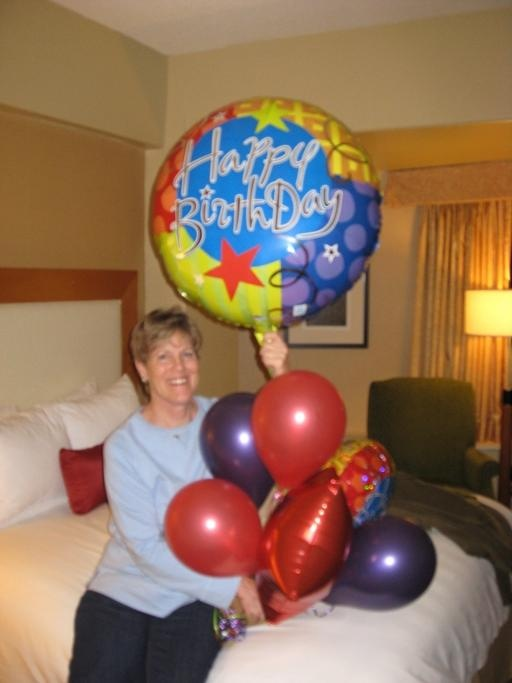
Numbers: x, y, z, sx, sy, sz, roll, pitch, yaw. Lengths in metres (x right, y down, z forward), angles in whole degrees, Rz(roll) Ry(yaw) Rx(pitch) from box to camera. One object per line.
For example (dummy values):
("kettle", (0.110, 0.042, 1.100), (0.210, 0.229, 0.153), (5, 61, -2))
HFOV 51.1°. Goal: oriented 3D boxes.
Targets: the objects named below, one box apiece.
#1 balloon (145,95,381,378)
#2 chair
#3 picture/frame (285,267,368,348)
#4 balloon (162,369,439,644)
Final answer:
("balloon", (0.038, -0.174, 1.033), (0.379, 0.562, 0.368), (-3, 2, -1))
("chair", (1.062, 0.595, 3.338), (0.618, 0.922, 0.734), (0, -15, 10))
("picture/frame", (0.544, -0.251, 3.947), (0.651, 0.793, 0.018), (1, 44, 2))
("balloon", (0.104, 0.273, 1.143), (0.467, 0.504, 0.212), (7, -1, -2))
